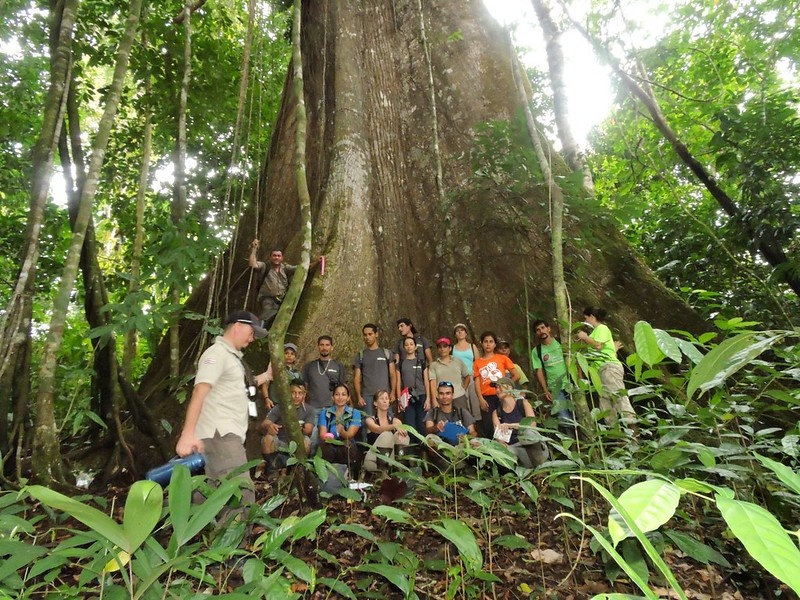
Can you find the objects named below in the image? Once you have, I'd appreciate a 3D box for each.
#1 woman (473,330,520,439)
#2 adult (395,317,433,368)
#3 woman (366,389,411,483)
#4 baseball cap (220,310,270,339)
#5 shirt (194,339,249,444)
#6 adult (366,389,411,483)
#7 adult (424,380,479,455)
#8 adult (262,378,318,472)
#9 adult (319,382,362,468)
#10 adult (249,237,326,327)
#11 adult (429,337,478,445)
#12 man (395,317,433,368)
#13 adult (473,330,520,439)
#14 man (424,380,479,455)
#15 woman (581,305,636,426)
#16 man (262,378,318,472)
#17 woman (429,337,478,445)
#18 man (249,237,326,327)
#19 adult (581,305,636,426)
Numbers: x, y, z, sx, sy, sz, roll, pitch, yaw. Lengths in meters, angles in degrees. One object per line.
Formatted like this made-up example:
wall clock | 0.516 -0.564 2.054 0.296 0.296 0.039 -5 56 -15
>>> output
woman | 1.149 1.174 6.206 0.563 1.578 0.467 -4 13 5
adult | 0.122 0.620 6.400 0.548 0.697 0.362 -6 -35 1
woman | -0.161 1.376 5.498 0.491 0.820 1.213 -8 -16 -1
baseball cap | -1.363 0.229 4.733 0.444 0.241 0.289 13 -7 -29
shirt | -1.501 0.799 4.391 0.446 0.900 0.753 -4 -11 0
adult | -0.161 1.380 5.510 0.491 0.820 1.179 -8 -16 -1
adult | 0.524 1.335 5.635 0.663 0.768 0.626 4 4 45
adult | -1.186 1.374 5.533 0.574 0.998 0.544 3 -4 -28
adult | -0.605 1.277 5.373 0.511 0.893 1.568 -5 -17 -10
adult | -1.346 -0.178 6.271 0.938 1.581 0.646 3 -31 -17
adult | 0.634 1.160 6.162 0.510 1.430 0.423 -9 5 6
man | 0.120 0.614 6.410 0.518 0.680 0.346 -4 -33 -2
adult | 1.131 1.171 6.203 0.560 1.591 0.471 -1 16 14
man | 0.541 1.323 5.647 0.669 0.789 0.615 2 3 34
woman | 1.974 0.652 4.939 0.393 0.421 1.036 7 23 17
man | -1.171 1.371 5.524 0.526 0.973 0.574 -1 -2 42
woman | 0.630 1.161 6.168 0.506 1.433 0.450 -9 9 3
man | -1.346 -0.178 6.271 0.938 1.581 0.646 3 -31 -17
adult | 1.974 0.652 4.939 0.393 0.421 1.036 7 23 17
